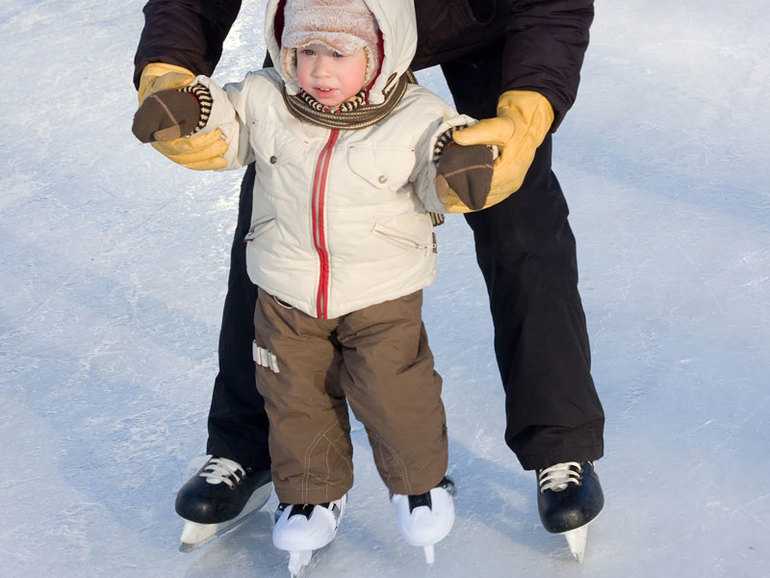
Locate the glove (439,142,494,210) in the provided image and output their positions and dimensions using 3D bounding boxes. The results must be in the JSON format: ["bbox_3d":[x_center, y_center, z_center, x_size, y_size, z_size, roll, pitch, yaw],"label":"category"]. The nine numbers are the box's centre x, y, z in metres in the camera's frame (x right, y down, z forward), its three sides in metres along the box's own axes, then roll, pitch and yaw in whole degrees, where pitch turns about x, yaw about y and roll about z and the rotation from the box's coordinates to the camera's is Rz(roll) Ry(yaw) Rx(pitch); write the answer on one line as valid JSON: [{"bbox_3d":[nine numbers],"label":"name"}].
[{"bbox_3d":[0.175,-0.244,1.815,0.118,0.129,0.050,-6,7,24],"label":"glove"}]

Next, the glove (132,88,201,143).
[{"bbox_3d":[-0.487,-0.389,1.911,0.098,0.074,0.133,39,57,8],"label":"glove"}]

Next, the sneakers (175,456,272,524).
[{"bbox_3d":[-0.459,0.555,2.429,0.109,0.121,0.291,32,14,15],"label":"sneakers"}]

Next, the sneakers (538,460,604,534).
[{"bbox_3d":[0.494,0.564,2.262,0.173,0.187,0.166,-9,50,-5],"label":"sneakers"}]

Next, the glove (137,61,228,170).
[{"bbox_3d":[-0.525,-0.408,2.016,0.146,0.147,0.082,28,28,-20],"label":"glove"}]
